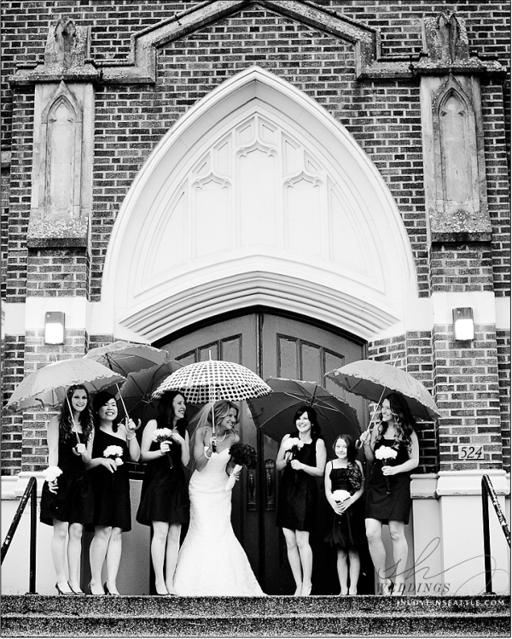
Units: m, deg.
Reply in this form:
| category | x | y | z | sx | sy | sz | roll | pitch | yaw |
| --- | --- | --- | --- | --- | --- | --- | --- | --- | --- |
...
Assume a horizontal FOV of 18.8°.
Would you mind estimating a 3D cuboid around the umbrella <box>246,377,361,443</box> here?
| category | x | y | z | sx | sy | sz | roll | pitch | yaw |
| --- | --- | --- | --- | --- | --- | --- | --- | --- | --- |
| umbrella | 0.449 | 0.796 | 13.512 | 0.800 | 0.623 | 0.778 | -5 | -5 | 25 |

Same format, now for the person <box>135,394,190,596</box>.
| category | x | y | z | sx | sy | sz | roll | pitch | yaw |
| --- | --- | --- | --- | --- | --- | --- | --- | --- | --- |
| person | -0.732 | 1.407 | 12.588 | 0.400 | 1.607 | 0.499 | 1 | -5 | -13 |

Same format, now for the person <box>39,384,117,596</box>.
| category | x | y | z | sx | sy | sz | roll | pitch | yaw |
| --- | --- | --- | --- | --- | --- | --- | --- | --- | --- |
| person | -1.415 | 1.317 | 12.095 | 0.462 | 1.606 | 0.476 | 2 | -5 | -20 |

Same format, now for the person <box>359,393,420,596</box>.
| category | x | y | z | sx | sy | sz | roll | pitch | yaw |
| --- | --- | --- | --- | --- | --- | --- | --- | --- | --- |
| person | 1.117 | 1.437 | 12.788 | 0.476 | 1.673 | 0.543 | -2 | -6 | 16 |

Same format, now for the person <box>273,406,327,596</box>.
| category | x | y | z | sx | sy | sz | roll | pitch | yaw |
| --- | --- | --- | --- | --- | --- | --- | --- | --- | --- |
| person | 0.376 | 1.519 | 12.934 | 0.398 | 1.604 | 0.439 | 1 | -4 | -10 |
